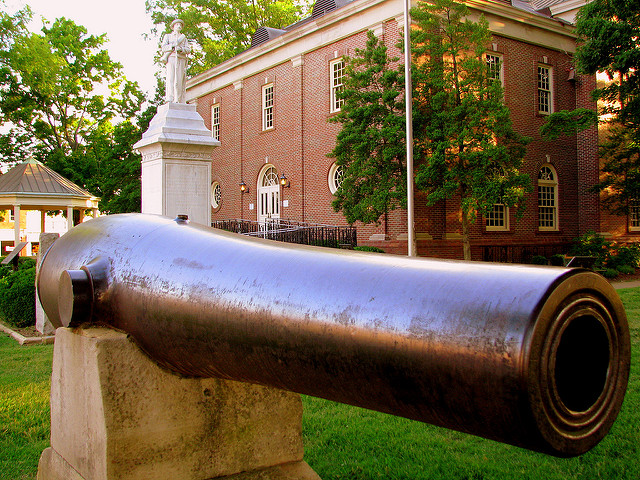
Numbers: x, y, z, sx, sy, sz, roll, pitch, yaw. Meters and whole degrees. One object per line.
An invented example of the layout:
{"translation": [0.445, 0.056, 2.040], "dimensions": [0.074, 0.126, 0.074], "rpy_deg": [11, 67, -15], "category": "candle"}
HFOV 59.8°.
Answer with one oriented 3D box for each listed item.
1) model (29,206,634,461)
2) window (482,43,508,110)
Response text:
{"translation": [-0.338, 0.282, 2.239], "dimensions": [0.950, 0.762, 2.674], "rpy_deg": [2, 2, -43], "category": "model"}
{"translation": [6.206, -5.862, 20.141], "dimensions": [0.944, 1.927, 0.125], "rpy_deg": [4, 10, -14], "category": "window"}
